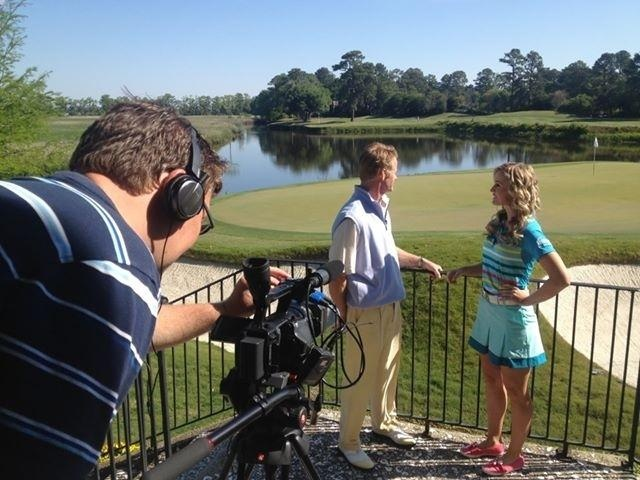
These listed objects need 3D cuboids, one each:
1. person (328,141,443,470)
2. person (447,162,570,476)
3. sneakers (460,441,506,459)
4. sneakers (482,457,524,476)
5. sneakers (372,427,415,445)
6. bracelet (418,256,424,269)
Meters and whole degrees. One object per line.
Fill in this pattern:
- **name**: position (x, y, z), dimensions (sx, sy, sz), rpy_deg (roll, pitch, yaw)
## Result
- **person**: position (0.438, 0.465, 4.309), dimensions (0.885, 2.352, 0.548), rpy_deg (12, -2, -1)
- **person**: position (1.405, 0.566, 4.012), dimensions (0.615, 1.966, 0.787), rpy_deg (11, -2, 17)
- **sneakers**: position (1.254, 1.602, 4.245), dimensions (0.289, 0.136, 0.134), rpy_deg (3, -1, 5)
- **sneakers**: position (1.337, 1.646, 4.035), dimensions (0.244, 0.115, 0.128), rpy_deg (2, 0, -9)
- **sneakers**: position (0.613, 1.526, 4.402), dimensions (0.259, 0.120, 0.133), rpy_deg (-2, 0, 34)
- **bracelet**: position (0.867, 0.191, 4.676), dimensions (0.015, 0.074, 0.054), rpy_deg (5, 1, -5)
